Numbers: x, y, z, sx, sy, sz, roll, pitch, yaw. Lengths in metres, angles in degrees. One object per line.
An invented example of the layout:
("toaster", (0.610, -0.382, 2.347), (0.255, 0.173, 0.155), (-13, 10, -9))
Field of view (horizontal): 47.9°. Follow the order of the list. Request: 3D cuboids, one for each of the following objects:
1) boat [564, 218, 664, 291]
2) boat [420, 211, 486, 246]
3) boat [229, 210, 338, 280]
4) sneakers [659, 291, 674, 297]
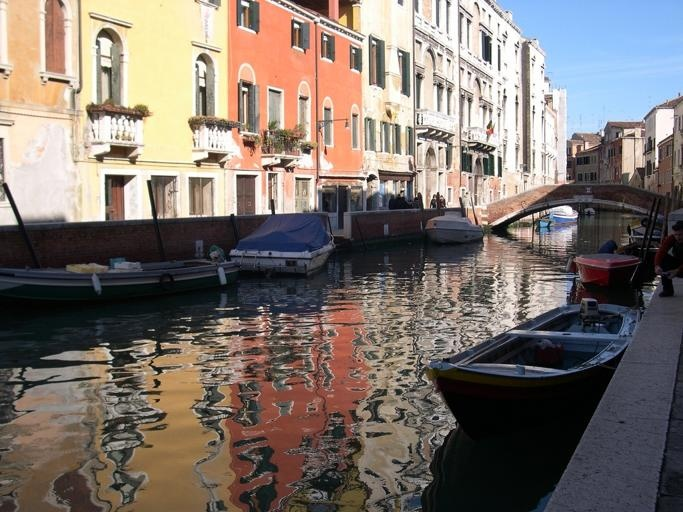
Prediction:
("boat", (8.706, 0.067, 24.470), (2.701, 1.866, 6.190), (0, 8, 23))
("boat", (6.118, -1.463, 41.654), (3.370, 1.520, 1.042), (-6, 10, -41))
("boat", (-2.012, -0.418, 25.690), (3.290, 1.926, 2.027), (-1, 8, -15))
("sneakers", (6.331, 0.712, 15.052), (0.321, 0.131, 0.111), (3, -2, -11))
